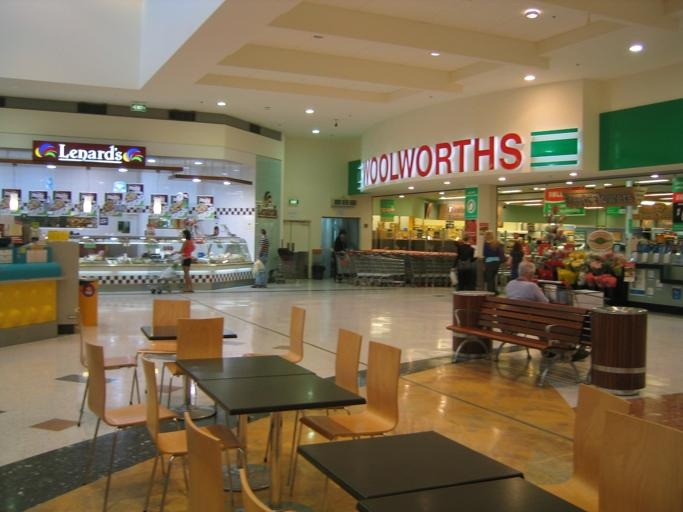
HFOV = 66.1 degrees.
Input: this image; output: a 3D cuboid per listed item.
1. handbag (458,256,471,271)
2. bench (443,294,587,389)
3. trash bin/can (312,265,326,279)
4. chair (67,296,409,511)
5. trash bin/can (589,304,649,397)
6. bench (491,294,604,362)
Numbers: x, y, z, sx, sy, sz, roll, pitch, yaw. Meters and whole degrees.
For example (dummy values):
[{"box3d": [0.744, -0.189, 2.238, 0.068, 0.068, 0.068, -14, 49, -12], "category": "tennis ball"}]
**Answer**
[{"box3d": [2.765, 0.206, 11.861, 0.419, 0.241, 0.206, 1, -6, -12], "category": "handbag"}, {"box3d": [2.301, 1.026, 6.929, 0.803, 0.736, 1.963, -7, 3, -19], "category": "bench"}, {"box3d": [-0.862, 0.627, 19.516, 0.559, 0.395, 0.506, 3, -6, -26], "category": "trash bin/can"}, {"box3d": [-0.416, 1.198, 4.098, 1.433, 1.069, 1.497, -1, 4, -25], "category": "chair"}, {"box3d": [3.064, 1.046, 5.809, 0.558, 0.929, 0.263, 2, 5, 21], "category": "trash bin/can"}, {"box3d": [2.403, 0.912, 6.741, 0.678, 0.632, 1.398, -2, 4, -32], "category": "bench"}]
